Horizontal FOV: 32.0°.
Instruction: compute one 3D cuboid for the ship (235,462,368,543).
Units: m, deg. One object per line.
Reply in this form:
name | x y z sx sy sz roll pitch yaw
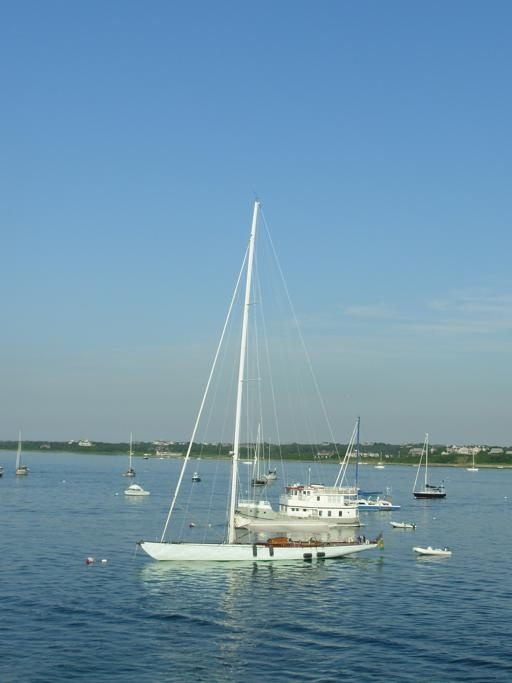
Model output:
ship | 4.905 18.777 102.385 14.512 4.671 4.310 1 -10 -5
